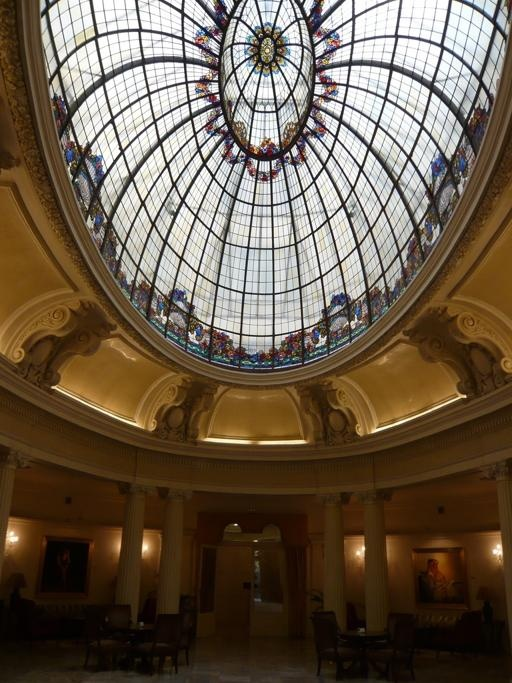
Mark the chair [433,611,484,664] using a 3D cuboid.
[{"bbox_3d":[6.006,8.579,13.357,1.344,1.069,0.733,-1,-31,3],"label":"chair"}]
